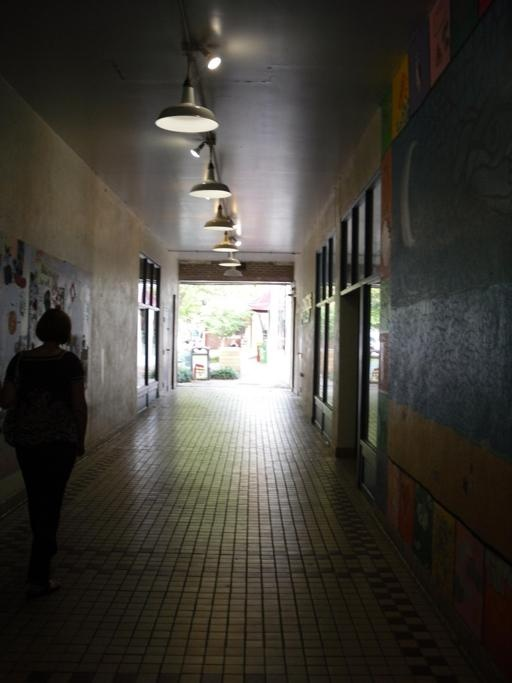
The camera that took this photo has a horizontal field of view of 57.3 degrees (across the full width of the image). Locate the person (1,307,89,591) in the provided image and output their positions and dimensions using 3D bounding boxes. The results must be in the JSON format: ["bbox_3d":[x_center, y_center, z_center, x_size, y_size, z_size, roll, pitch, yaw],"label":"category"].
[{"bbox_3d":[-0.999,0.525,2.222,0.369,1.375,0.197,2,-2,-25],"label":"person"}]
